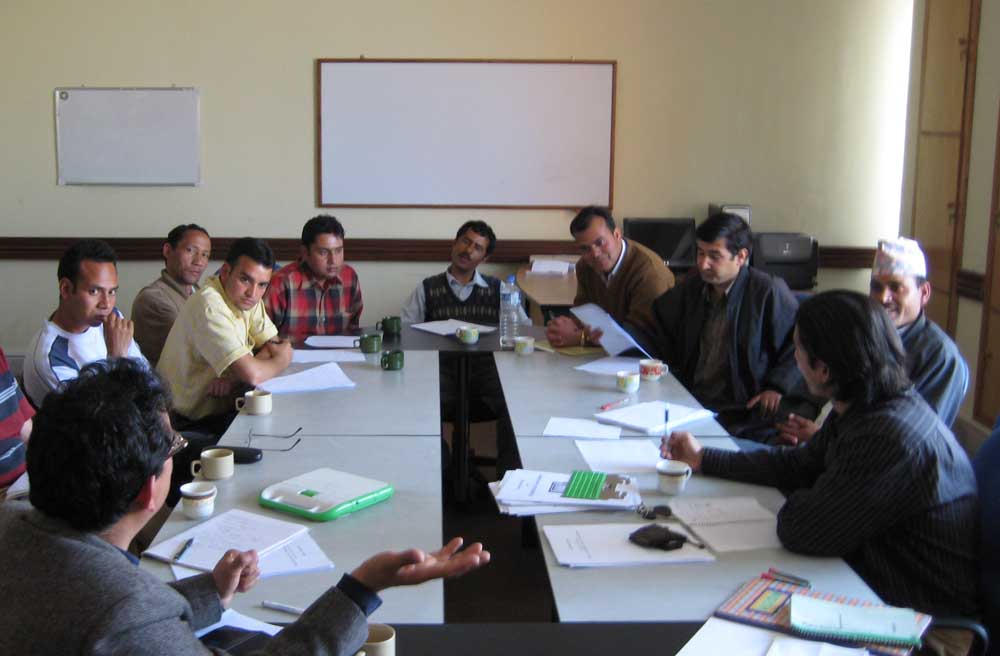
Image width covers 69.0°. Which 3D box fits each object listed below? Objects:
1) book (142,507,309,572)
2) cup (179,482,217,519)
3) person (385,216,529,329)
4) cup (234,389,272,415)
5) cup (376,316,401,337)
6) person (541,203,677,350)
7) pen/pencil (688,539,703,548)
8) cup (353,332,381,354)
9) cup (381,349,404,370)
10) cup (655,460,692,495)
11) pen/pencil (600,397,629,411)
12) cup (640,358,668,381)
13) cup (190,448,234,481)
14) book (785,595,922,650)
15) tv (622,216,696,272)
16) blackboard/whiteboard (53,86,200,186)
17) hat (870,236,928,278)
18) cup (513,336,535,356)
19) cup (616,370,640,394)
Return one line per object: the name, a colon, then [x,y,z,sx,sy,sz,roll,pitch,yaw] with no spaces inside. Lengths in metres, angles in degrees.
book: [-0.736,0.579,1.987,0.232,0.035,0.263,4,17,15]
cup: [-0.891,0.501,2.164,0.098,0.077,0.095,2,2,0]
person: [-0.332,-0.597,4.888,1.034,0.887,0.604,2,14,-11]
cup: [-0.971,0.292,2.864,0.129,0.080,0.083,-1,1,11]
cup: [-0.627,-0.012,4.116,0.124,0.088,0.084,-2,9,-2]
person: [0.558,-0.313,4.073,0.912,0.641,0.613,-27,27,-30]
pen/pencil: [0.546,0.599,2.025,0.046,0.010,0.028,5,17,31]
cup: [-0.676,0.074,3.726,0.128,0.095,0.095,-5,14,-21]
cup: [-0.498,0.147,3.446,0.071,0.070,0.107,9,14,36]
cup: [0.539,0.468,2.295,0.103,0.074,0.084,0,9,-8]
pen/pencil: [0.467,0.312,2.986,0.023,0.023,0.219,-3,1,33]
cup: [0.704,0.192,3.347,0.114,0.074,0.077,-1,7,-5]
cup: [-0.920,0.430,2.353,0.136,0.087,0.091,-5,12,-26]
book: [0.838,0.695,1.742,0.214,0.051,0.146,0,10,10]
tv: [1.242,-0.685,5.776,0.420,0.555,0.453,2,10,9]
blackboard/whiteboard: [-2.926,-1.522,5.636,0.749,0.521,0.032,0,6,-4]
hat: [1.634,-0.289,2.996,0.183,0.133,0.183,0,8,-23]
cup: [0.122,0.091,3.718,0.088,0.071,0.089,1,3,0]
cup: [0.559,0.235,3.164,0.081,0.069,0.089,0,0,2]
